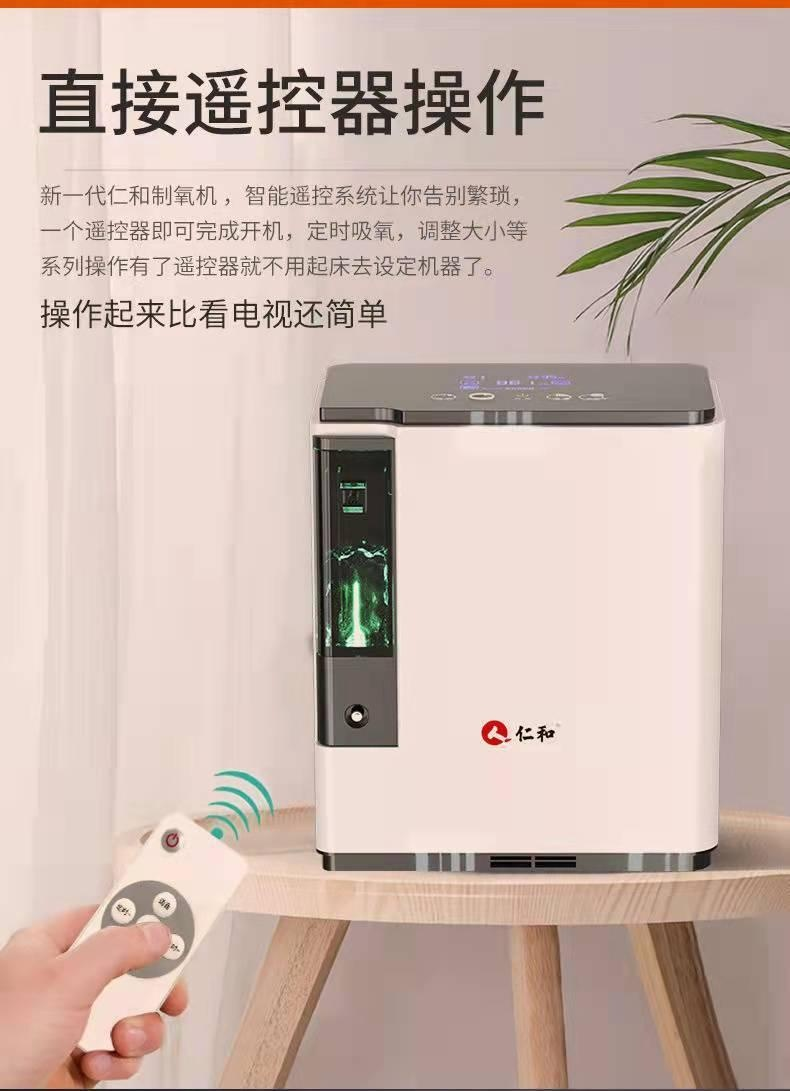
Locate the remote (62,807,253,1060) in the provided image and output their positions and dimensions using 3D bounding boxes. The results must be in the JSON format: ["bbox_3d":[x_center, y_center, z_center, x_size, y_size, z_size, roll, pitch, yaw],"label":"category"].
[{"bbox_3d":[-0.155,0.247,0.697,0.079,0.161,0.039,29,-17,7],"label":"remote"}]

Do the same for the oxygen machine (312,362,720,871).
[{"bbox_3d":[0.099,0.077,0.875,0.330,0.353,0.236,1,-29,-5],"label":"oxygen machine"}]
